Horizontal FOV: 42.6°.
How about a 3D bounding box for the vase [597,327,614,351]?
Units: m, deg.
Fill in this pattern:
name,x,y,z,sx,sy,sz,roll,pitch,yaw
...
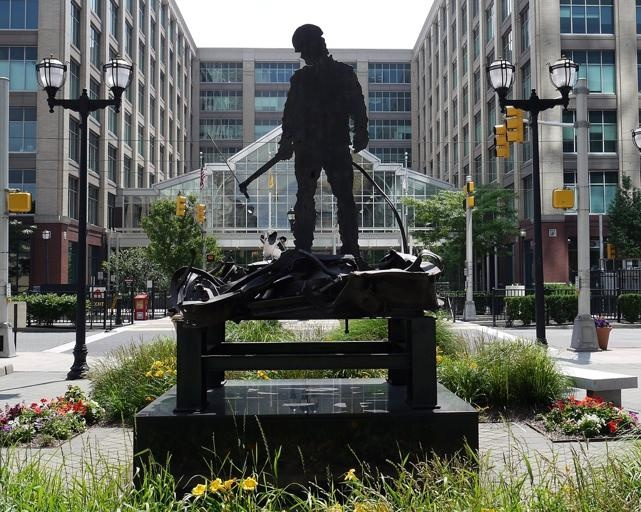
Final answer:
name,x,y,z,sx,sy,sz,roll,pitch,yaw
vase,8.453,2.440,24.410,0.540,0.647,0.551,0,-13,0
